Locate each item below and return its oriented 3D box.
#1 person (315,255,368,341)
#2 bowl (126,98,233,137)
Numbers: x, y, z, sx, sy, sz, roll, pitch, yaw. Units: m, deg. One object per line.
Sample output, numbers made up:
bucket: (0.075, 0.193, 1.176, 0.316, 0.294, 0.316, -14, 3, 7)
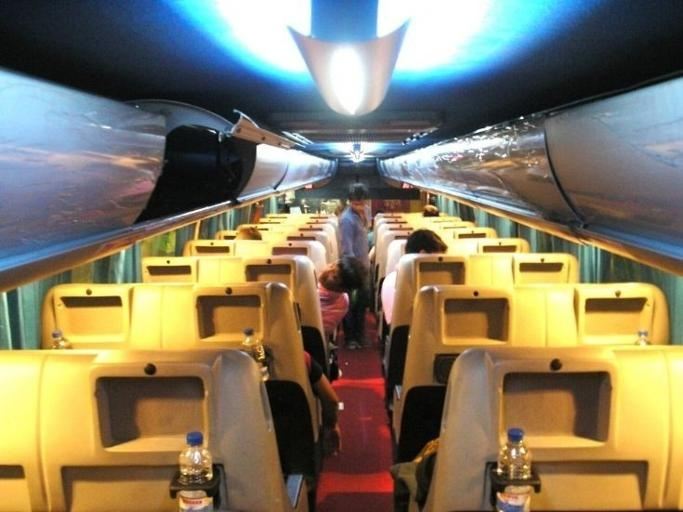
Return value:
person: (0.003, 0.410, 4.783, 0.364, 0.373, 0.926, 16, -25, 2)
bowl: (-0.656, -0.595, 2.127, 0.156, 0.125, 0.506, -3, -4, 24)
